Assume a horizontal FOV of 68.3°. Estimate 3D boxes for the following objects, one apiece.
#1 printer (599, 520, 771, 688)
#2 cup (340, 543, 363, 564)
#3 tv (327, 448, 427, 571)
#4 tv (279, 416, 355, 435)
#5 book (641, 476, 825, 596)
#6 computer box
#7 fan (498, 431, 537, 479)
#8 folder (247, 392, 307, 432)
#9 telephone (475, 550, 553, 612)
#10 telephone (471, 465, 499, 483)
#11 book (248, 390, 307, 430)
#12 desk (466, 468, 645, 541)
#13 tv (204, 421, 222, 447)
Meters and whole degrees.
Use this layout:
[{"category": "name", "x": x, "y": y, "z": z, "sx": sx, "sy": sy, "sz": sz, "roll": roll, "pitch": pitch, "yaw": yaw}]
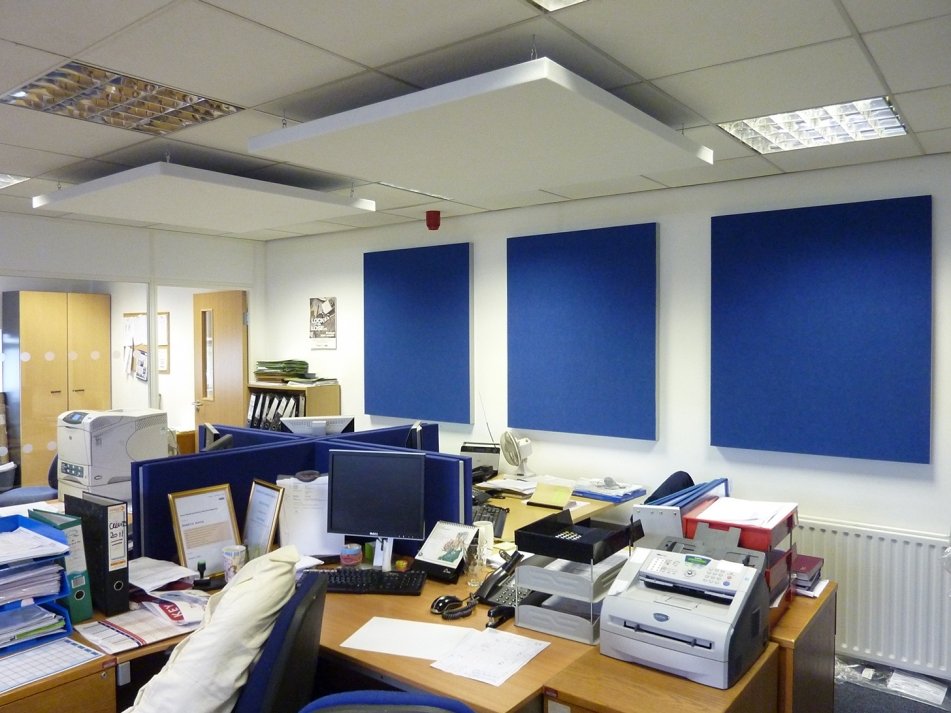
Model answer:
[{"category": "printer", "x": 0.922, "y": 1.036, "z": 2.925, "sx": 0.599, "sy": 0.387, "sz": 0.595, "roll": -8, "pitch": 4, "yaw": -35}, {"category": "cup", "x": -0.632, "y": 1.019, "z": 3.595, "sx": 0.097, "sy": 0.093, "sz": 0.097, "roll": 2, "pitch": 8, "yaw": 0}, {"category": "tv", "x": -0.491, "y": 0.752, "z": 3.657, "sx": 0.520, "sy": 0.514, "sz": 0.168, "roll": 1, "pitch": -3, "yaw": 12}, {"category": "tv", "x": -1.064, "y": 0.517, "z": 4.774, "sx": 0.416, "sy": 0.121, "sz": 0.288, "roll": 2, "pitch": -20, "yaw": -13}, {"category": "book", "x": 1.130, "y": 0.704, "z": 3.102, "sx": 0.659, "sy": 0.319, "sz": 0.489, "roll": 1, "pitch": 2, "yaw": 36}, {"category": "computer box", "x": -2.547, "y": 0.704, "z": 4.978, "sx": 0.645, "sy": 0.585, "sz": 0.661, "roll": -2, "pitch": -1, "yaw": 32}, {"category": "fan", "x": 0.311, "y": 0.777, "z": 5.529, "sx": 0.275, "sy": 0.355, "sz": 0.273, "roll": -2, "pitch": 3, "yaw": 7}, {"category": "folder", "x": -2.001, "y": 0.616, "z": 7.105, "sx": 0.511, "sy": 0.222, "sz": 0.687, "roll": -4, "pitch": -9, "yaw": 24}, {"category": "telephone", "x": 0.171, "y": 1.059, "z": 3.313, "sx": 0.205, "sy": 0.085, "sz": 0.278, "roll": 1, "pitch": 14, "yaw": 40}, {"category": "telephone", "x": 0.084, "y": 0.906, "z": 5.436, "sx": 0.109, "sy": 0.119, "sz": 0.304, "roll": -5, "pitch": -11, "yaw": 28}, {"category": "book", "x": -2.016, "y": 0.514, "z": 7.049, "sx": 0.507, "sy": 0.206, "sz": 0.699, "roll": -4, "pitch": -8, "yaw": 20}, {"category": "desk", "x": 0.389, "y": 0.984, "z": 4.825, "sx": 0.652, "sy": 0.394, "sz": 0.654, "roll": 0, "pitch": 0, "yaw": 38}, {"category": "tv", "x": -1.692, "y": 0.506, "z": 4.494, "sx": 0.156, "sy": 0.145, "sz": 0.060, "roll": 0, "pitch": 0, "yaw": 43}]
